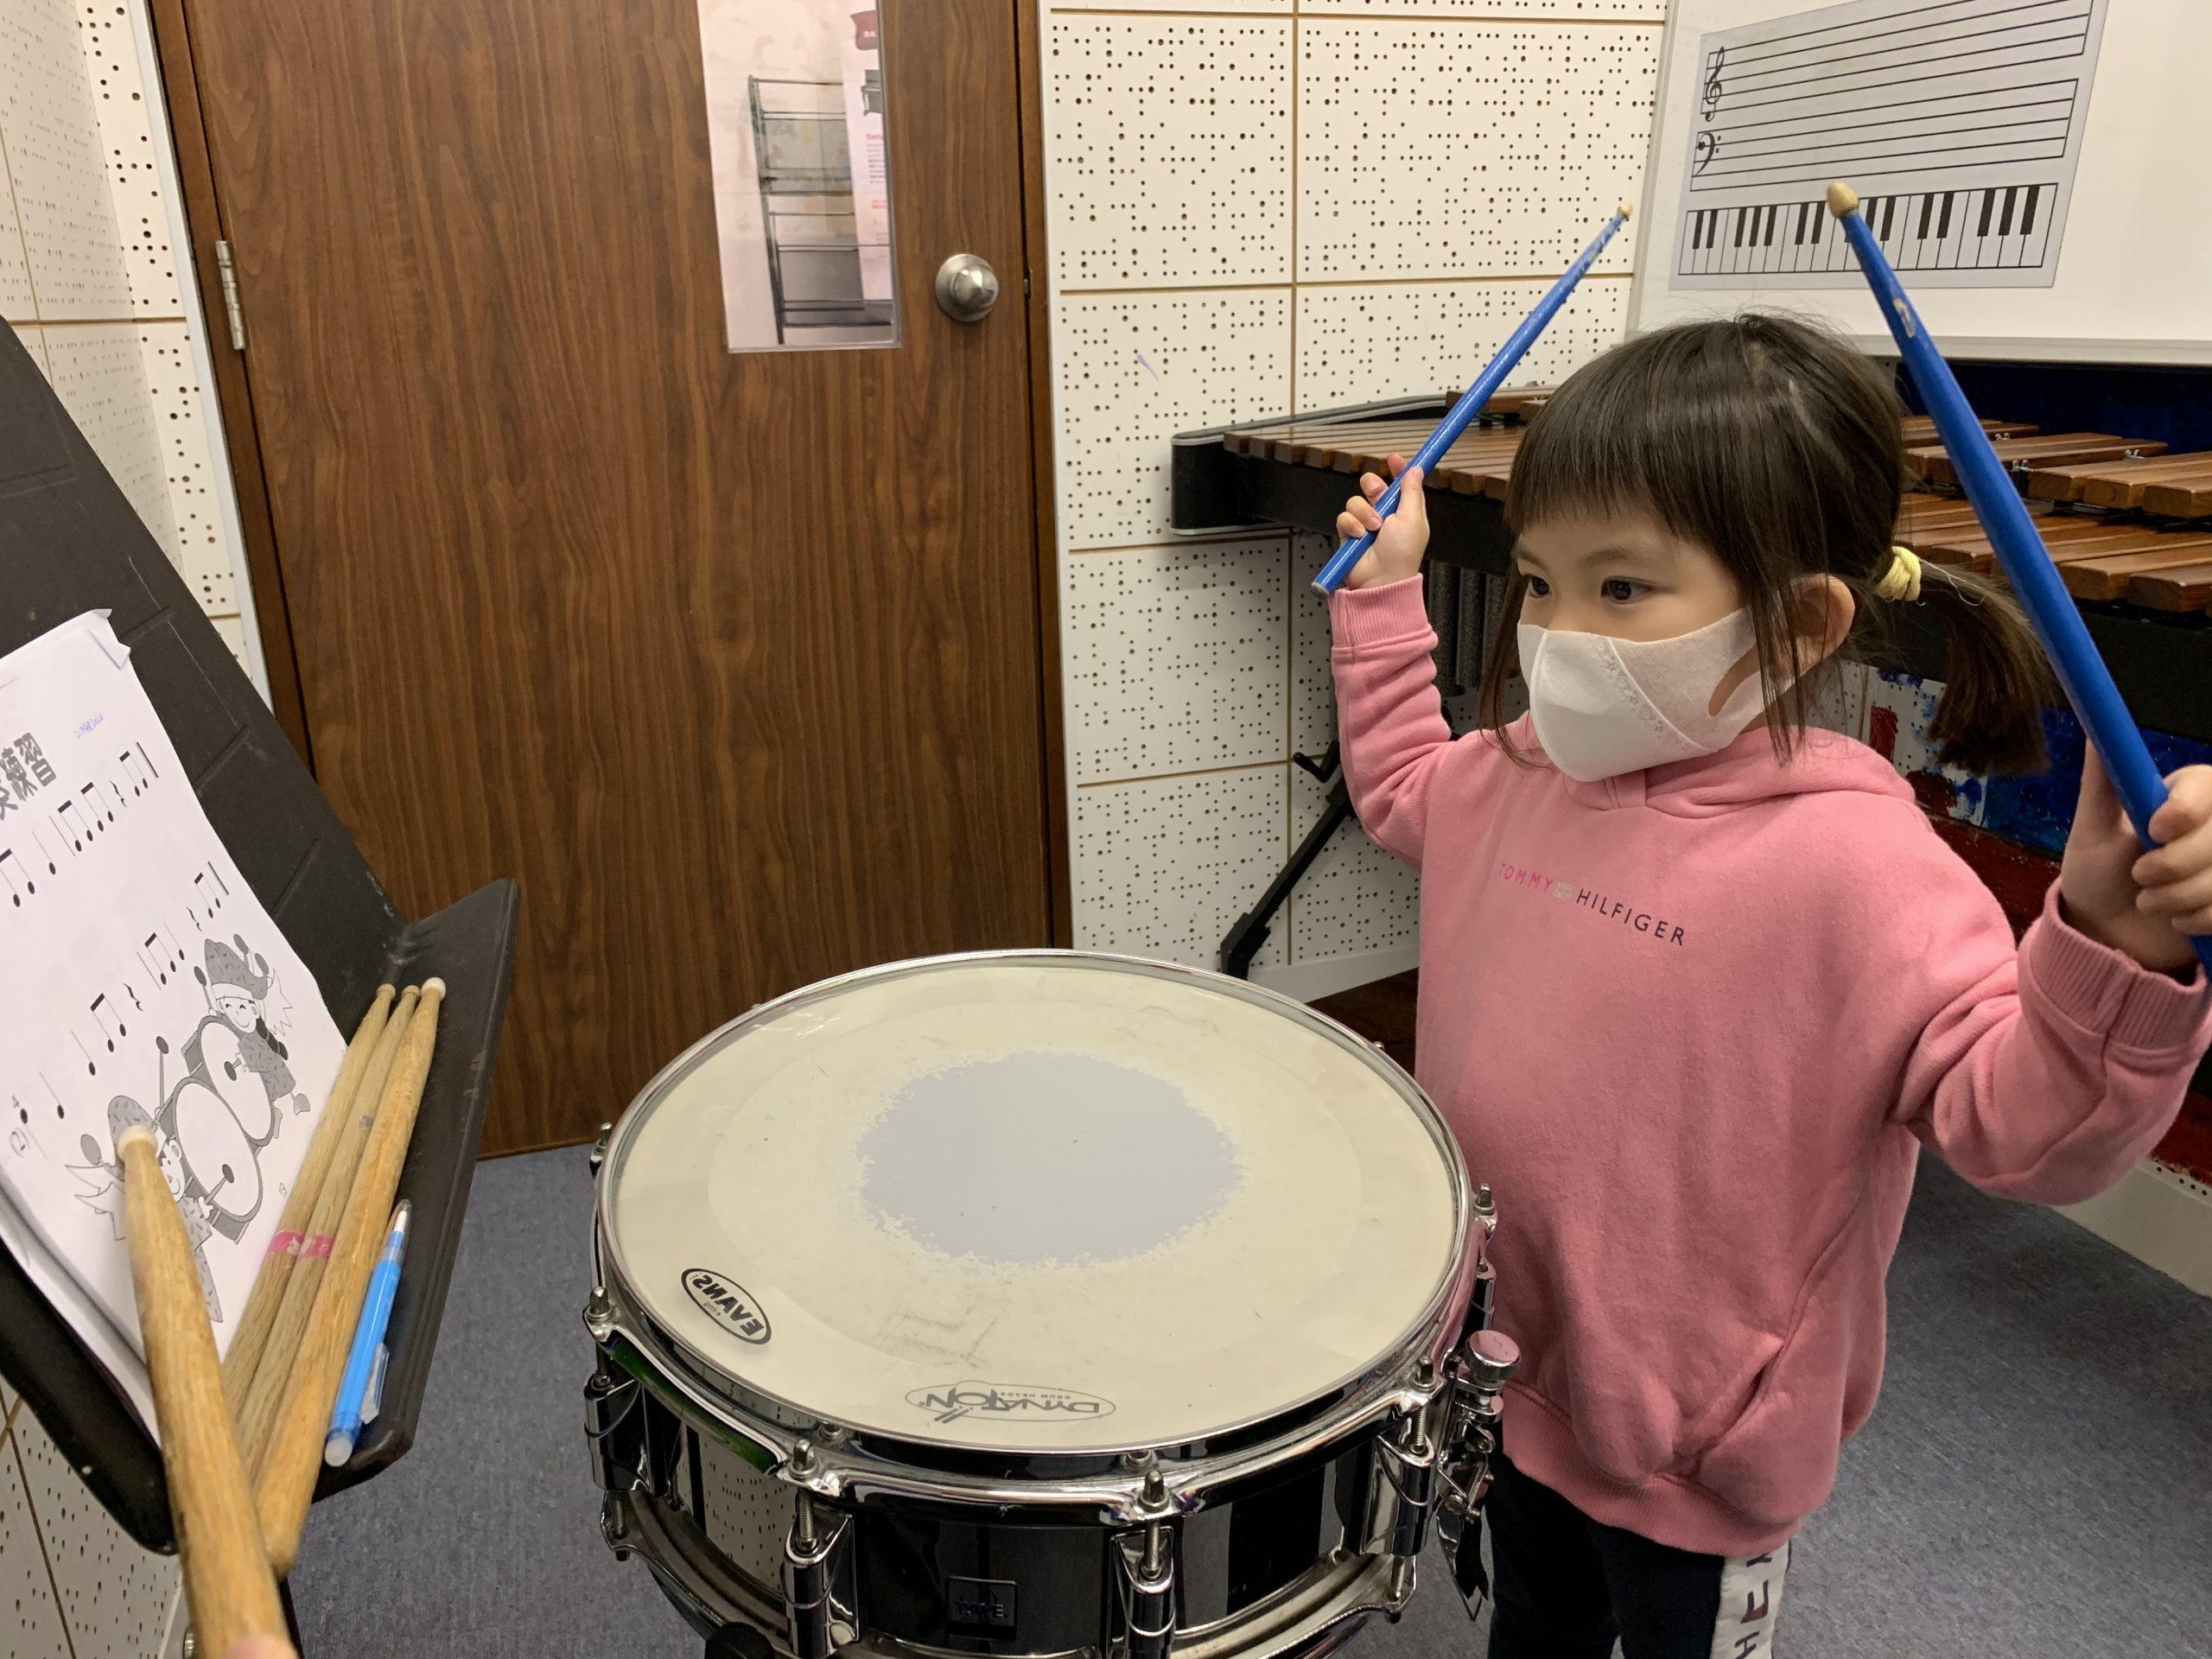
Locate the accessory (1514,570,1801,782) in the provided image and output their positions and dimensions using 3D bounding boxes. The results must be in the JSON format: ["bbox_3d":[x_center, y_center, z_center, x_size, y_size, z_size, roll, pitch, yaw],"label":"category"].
[{"bbox_3d":[0.372,-0.101,1.090,0.122,0.074,0.122,-30,19,-25],"label":"accessory"}]

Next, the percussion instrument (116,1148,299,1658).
[{"bbox_3d":[-0.430,0.263,0.751,0.046,0.045,0.352,27,28,-54],"label":"percussion instrument"}]

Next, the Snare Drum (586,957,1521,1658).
[{"bbox_3d":[-0.046,0.323,1.103,0.607,0.211,0.555,0,28,0],"label":"Snare Drum"}]
